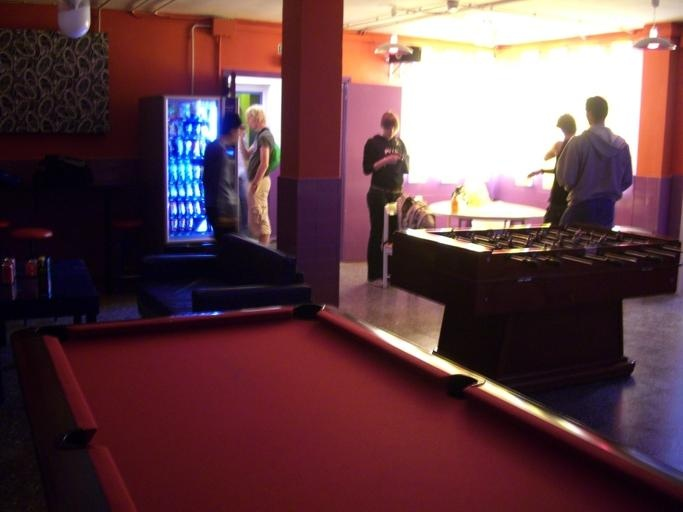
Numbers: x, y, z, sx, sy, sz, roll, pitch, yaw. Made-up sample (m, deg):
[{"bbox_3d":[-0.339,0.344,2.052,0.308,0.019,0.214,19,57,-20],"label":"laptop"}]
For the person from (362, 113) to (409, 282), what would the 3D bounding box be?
[{"bbox_3d":[0.527,-0.706,6.533,0.474,2.104,0.468,9,13,38],"label":"person"}]

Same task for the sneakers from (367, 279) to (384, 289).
[{"bbox_3d":[0.450,0.357,6.599,0.074,0.085,0.212,-3,-3,-28],"label":"sneakers"}]

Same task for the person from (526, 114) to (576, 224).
[{"bbox_3d":[2.541,-0.894,6.330,0.540,1.636,0.358,8,32,26],"label":"person"}]

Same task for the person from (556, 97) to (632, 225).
[{"bbox_3d":[2.497,-0.783,5.092,0.675,0.946,0.234,3,10,6],"label":"person"}]
